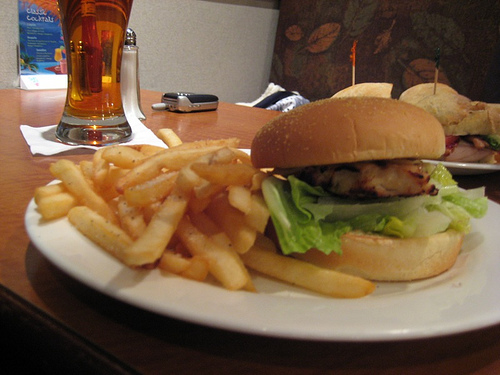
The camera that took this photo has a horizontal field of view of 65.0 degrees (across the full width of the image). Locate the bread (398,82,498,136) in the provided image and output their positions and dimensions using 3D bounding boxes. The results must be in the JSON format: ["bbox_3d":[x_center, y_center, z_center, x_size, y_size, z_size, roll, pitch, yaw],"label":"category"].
[{"bbox_3d":[1.200,-0.455,2.585,0.765,0.406,0.564,-4,12,-14],"label":"bread"}]

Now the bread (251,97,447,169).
[{"bbox_3d":[0.375,-0.217,1.600,0.769,0.229,0.687,-5,1,12],"label":"bread"}]
